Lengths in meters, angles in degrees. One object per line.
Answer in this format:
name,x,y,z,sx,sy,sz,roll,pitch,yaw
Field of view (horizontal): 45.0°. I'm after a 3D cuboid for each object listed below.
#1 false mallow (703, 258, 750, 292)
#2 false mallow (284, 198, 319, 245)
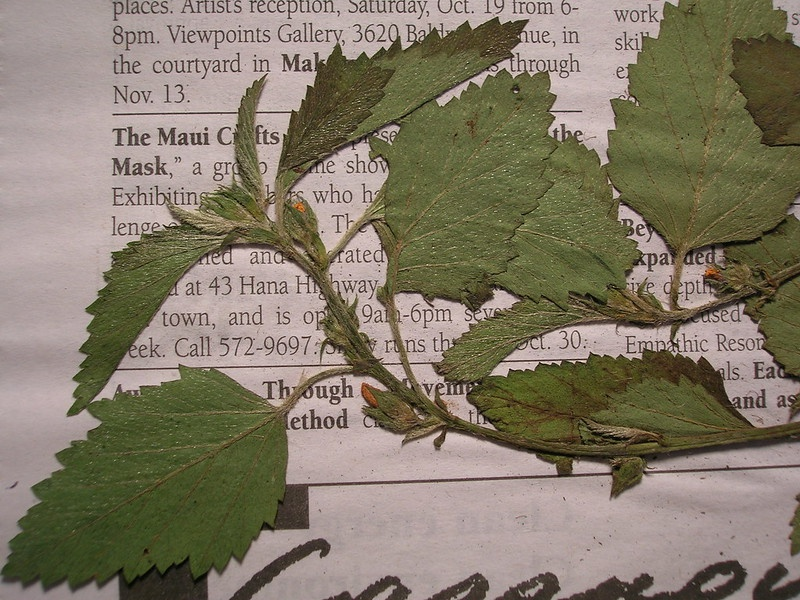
false mallow,0.700,-0.051,2.044,0.088,0.059,0.038,-15,-27,20
false mallow,-0.205,-0.169,2.039,0.045,0.103,0.047,-18,-11,41
